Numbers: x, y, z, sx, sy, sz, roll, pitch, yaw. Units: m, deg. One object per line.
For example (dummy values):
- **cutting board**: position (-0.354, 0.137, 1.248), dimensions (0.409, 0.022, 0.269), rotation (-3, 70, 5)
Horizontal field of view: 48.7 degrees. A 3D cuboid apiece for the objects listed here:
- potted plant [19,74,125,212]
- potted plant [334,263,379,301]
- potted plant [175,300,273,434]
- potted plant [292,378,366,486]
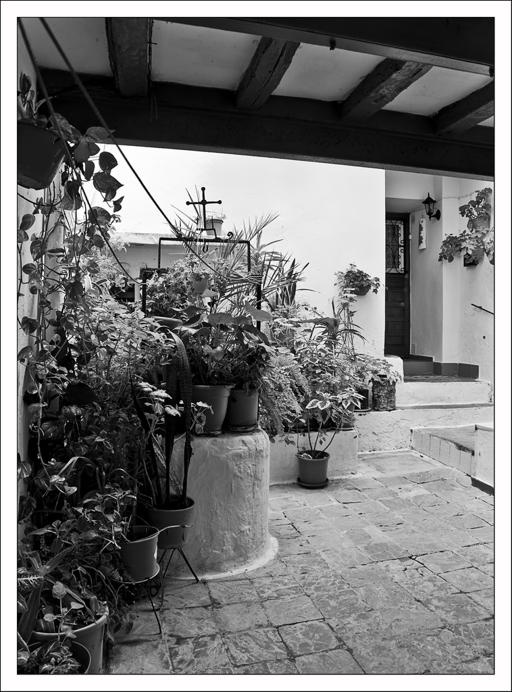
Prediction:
- **potted plant**: position (-0.604, -0.560, 1.624), dimensions (0.369, 0.170, 0.422), rotation (18, -13, -24)
- **potted plant**: position (1.113, -0.701, 6.094), dimensions (0.517, 0.360, 0.180), rotation (0, 1, -17)
- **potted plant**: position (-0.160, 0.113, 3.014), dimensions (0.549, 0.826, 0.561), rotation (2, -4, -25)
- **potted plant**: position (0.543, 0.731, 4.558), dimensions (0.407, 0.746, 0.726), rotation (1, 2, 37)
